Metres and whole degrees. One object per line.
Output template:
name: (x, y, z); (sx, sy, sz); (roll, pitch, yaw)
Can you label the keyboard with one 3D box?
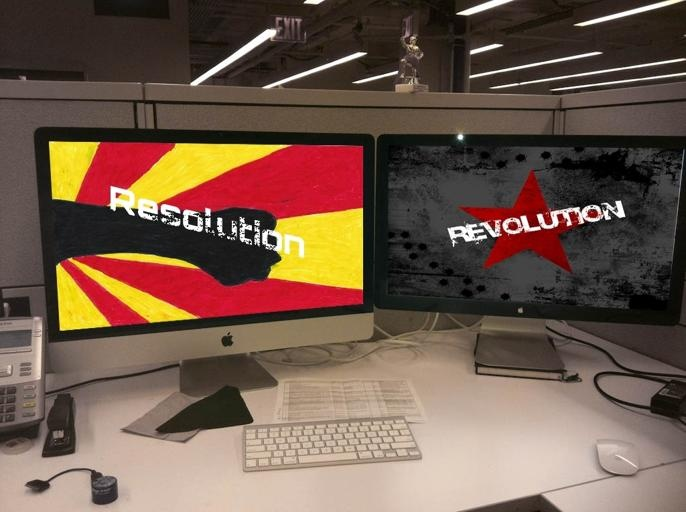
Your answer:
keyboard: (-0.026, 0.406, 1.200); (0.385, 0.017, 0.146); (0, 21, -12)
